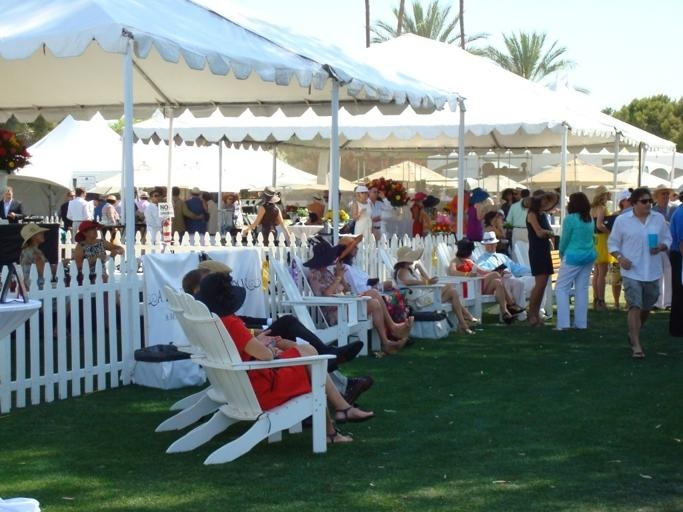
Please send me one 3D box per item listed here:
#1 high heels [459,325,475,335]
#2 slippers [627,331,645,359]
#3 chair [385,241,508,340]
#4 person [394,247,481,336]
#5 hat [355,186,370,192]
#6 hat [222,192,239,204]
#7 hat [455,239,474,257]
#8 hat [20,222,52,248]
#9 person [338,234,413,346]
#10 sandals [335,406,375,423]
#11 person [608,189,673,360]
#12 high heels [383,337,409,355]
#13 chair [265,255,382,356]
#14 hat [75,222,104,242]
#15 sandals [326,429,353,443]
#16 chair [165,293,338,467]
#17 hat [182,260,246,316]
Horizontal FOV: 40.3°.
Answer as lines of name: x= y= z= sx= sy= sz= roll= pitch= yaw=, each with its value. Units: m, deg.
high heels: x=1.901 y=1.113 z=13.975 sx=0.091 sy=0.086 sz=0.240 roll=1 pitch=-1 yaw=-32
slippers: x=3.845 y=1.084 z=12.177 sx=0.142 sy=0.233 sz=0.517 roll=-2 pitch=10 yaw=6
chair: x=1.415 y=0.515 z=13.945 sx=1.313 sy=1.144 sz=1.000 roll=5 pitch=7 yaw=37
person: x=1.407 y=0.471 z=13.887 sx=1.167 sy=1.432 sz=0.780 roll=-3 pitch=1 yaw=23
hat: x=0.361 y=-1.221 z=17.000 sx=0.196 sy=0.100 sz=0.267 roll=-2 pitch=1 yaw=5
hat: x=-2.747 y=-1.432 z=22.641 sx=0.301 sy=0.175 sz=0.449 roll=-1 pitch=-1 yaw=-1
hat: x=2.000 y=-0.138 z=15.034 sx=0.224 sy=0.285 sz=0.269 roll=0 pitch=-1 yaw=0
hat: x=-4.015 y=-0.296 z=12.057 sx=0.291 sy=0.285 sz=0.381 roll=-2 pitch=1 yaw=-20
person: x=0.423 y=0.490 z=12.788 sx=0.492 sy=1.569 sz=1.405 roll=-10 pitch=14 yaw=-38
sandals: x=0.136 y=1.586 z=9.508 sx=0.397 sy=0.208 sz=0.166 roll=-1 pitch=1 yaw=-3
person: x=3.905 y=0.205 z=12.162 sx=0.765 sy=2.191 sz=0.532 roll=-1 pitch=1 yaw=13
high heels: x=0.691 y=1.179 z=12.583 sx=0.438 sy=0.193 sz=0.134 roll=-21 pitch=28 yaw=-30
chair: x=-0.364 y=0.645 z=12.583 sx=1.418 sy=1.687 sz=1.126 roll=1 pitch=0 yaw=20
hat: x=-3.493 y=-0.354 z=12.755 sx=0.379 sy=0.278 sz=0.290 roll=-2 pitch=1 yaw=-9
sandals: x=-0.038 y=1.751 z=9.136 sx=0.303 sy=0.150 sz=0.104 roll=-2 pitch=2 yaw=-6
chair: x=-0.873 y=0.959 z=9.046 sx=1.496 sy=1.589 sz=1.458 roll=2 pitch=12 yaw=36
hat: x=-1.215 y=0.297 z=8.989 sx=0.475 sy=0.451 sz=0.686 roll=-2 pitch=1 yaw=-13
